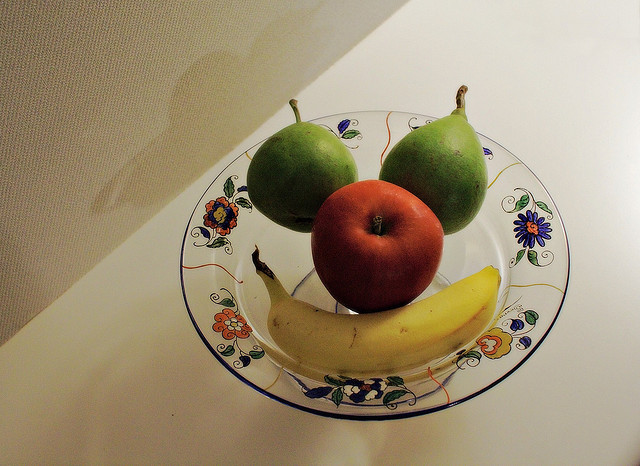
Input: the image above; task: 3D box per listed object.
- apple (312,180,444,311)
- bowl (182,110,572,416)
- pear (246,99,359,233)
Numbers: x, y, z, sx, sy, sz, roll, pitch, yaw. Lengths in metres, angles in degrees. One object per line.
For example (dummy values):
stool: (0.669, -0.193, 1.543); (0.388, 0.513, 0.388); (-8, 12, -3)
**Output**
apple: (0.063, 0.011, 1.112); (0.203, 0.212, 0.260); (-9, 107, -34)
bowl: (0.083, 0.024, 1.061); (0.537, 0.674, 0.164); (-11, 37, 11)
pear: (-0.037, -0.123, 1.182); (0.169, 0.193, 0.293); (-3, 64, 9)
